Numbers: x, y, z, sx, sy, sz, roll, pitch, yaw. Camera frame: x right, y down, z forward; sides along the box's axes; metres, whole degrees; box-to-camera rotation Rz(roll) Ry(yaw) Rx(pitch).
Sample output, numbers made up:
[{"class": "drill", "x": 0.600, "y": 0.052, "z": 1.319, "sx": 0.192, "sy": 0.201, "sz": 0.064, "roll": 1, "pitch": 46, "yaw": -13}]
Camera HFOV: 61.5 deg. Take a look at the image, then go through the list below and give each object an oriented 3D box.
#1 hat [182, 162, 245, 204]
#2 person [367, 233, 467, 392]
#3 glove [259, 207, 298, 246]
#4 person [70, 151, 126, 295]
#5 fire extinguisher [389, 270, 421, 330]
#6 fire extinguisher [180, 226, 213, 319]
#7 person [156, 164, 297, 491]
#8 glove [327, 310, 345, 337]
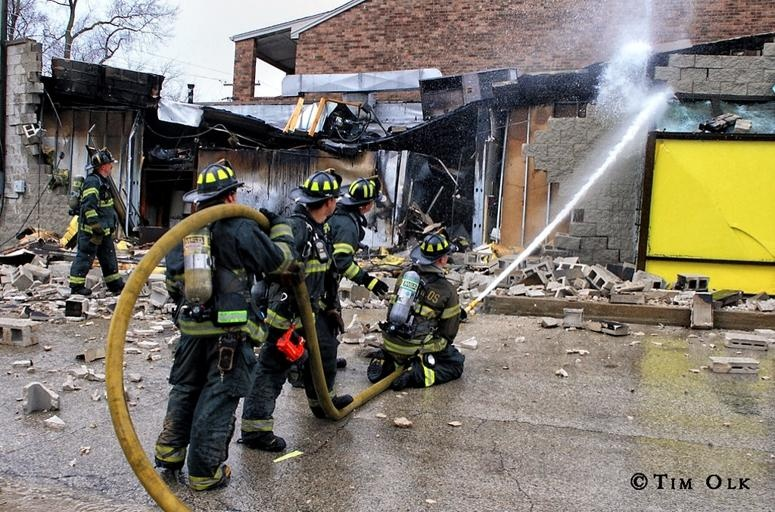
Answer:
[{"class": "hat", "x": -1.591, "y": -0.716, "z": 6.081, "sx": 0.557, "sy": 0.294, "sz": 0.681, "roll": 1, "pitch": 18, "yaw": 33}, {"class": "person", "x": 0.369, "y": 0.588, "z": 7.868, "sx": 0.986, "sy": 1.878, "sz": 1.106, "roll": -1, "pitch": 0, "yaw": -18}, {"class": "glove", "x": -1.008, "y": -0.252, "z": 6.197, "sx": 0.295, "sy": 0.367, "sz": 0.125, "roll": -13, "pitch": -20, "yaw": 4}, {"class": "person", "x": -4.788, "y": -0.549, "z": 10.670, "sx": 0.780, "sy": 2.374, "sz": 0.655, "roll": 1, "pitch": 7, "yaw": -21}, {"class": "fire extinguisher", "x": 0.194, "y": 0.503, "z": 7.402, "sx": 0.349, "sy": 0.678, "sz": 0.250, "roll": 4, "pitch": 6, "yaw": 3}, {"class": "fire extinguisher", "x": -1.672, "y": 0.120, "z": 5.714, "sx": 0.264, "sy": 0.762, "sz": 0.219, "roll": 2, "pitch": 6, "yaw": -11}, {"class": "person", "x": -1.506, "y": 0.622, "z": 6.158, "sx": 1.331, "sy": 2.850, "sz": 1.198, "roll": 3, "pitch": 0, "yaw": 9}, {"class": "glove", "x": -0.540, "y": 0.691, "z": 6.812, "sx": 0.087, "sy": 0.252, "sz": 0.188, "roll": -14, "pitch": -12, "yaw": 13}]
